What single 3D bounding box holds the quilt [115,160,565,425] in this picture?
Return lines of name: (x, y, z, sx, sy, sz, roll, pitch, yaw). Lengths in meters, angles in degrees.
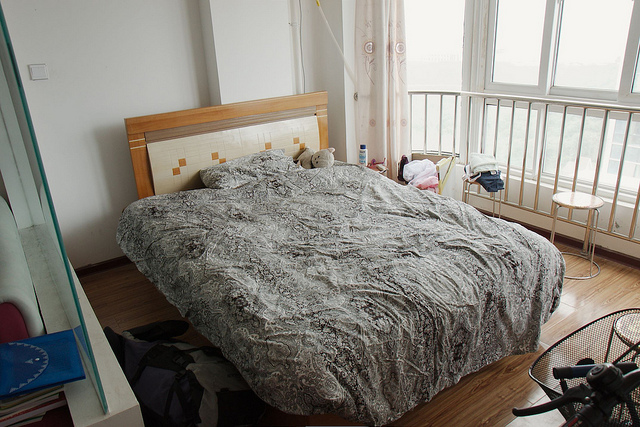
quilt: (0.030, 0.496, 2.634, 1.858, 0.620, 2.471, -15, 23, -30)
